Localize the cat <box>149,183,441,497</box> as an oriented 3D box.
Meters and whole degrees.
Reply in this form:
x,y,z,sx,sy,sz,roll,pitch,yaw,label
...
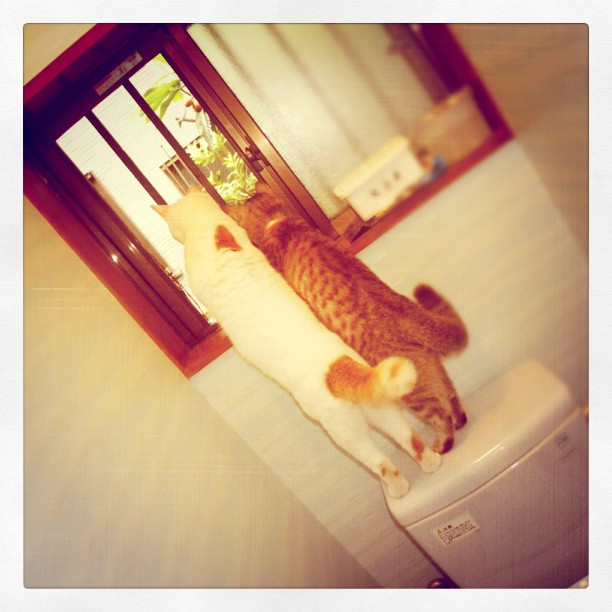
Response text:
x,y,z,sx,sy,sz,roll,pitch,yaw,label
-0.012,0.097,2.047,0.377,1.135,0.268,-25,16,47,cat

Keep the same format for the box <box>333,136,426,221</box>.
x,y,z,sx,sy,sz,roll,pitch,yaw,label
0.218,-0.450,2.084,0.288,0.114,0.403,-25,-20,-4,box

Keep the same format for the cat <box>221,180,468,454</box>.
x,y,z,sx,sy,sz,roll,pitch,yaw,label
0.103,0.062,2.057,0.180,0.841,0.436,-45,-16,-7,cat

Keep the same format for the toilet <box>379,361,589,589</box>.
x,y,z,sx,sy,sz,roll,pitch,yaw,label
0.583,0.702,2.235,0.712,0.671,0.376,-23,20,-22,toilet
